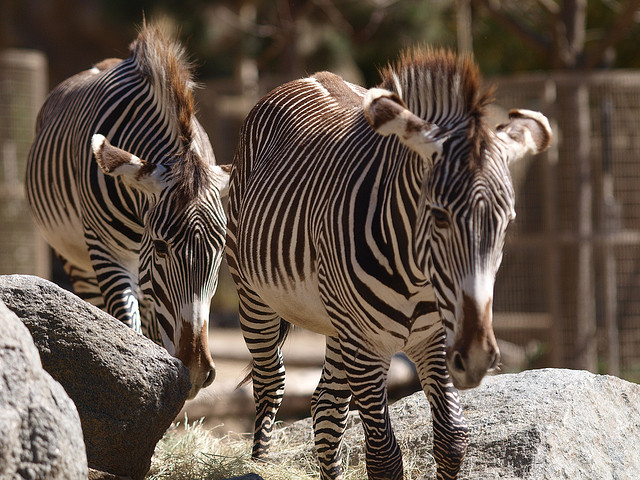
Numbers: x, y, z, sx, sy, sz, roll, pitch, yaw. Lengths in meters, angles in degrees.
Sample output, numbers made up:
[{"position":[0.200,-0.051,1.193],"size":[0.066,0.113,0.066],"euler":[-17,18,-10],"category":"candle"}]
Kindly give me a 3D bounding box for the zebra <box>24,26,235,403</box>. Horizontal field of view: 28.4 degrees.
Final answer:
[{"position":[-1.609,-0.259,10.639],"size":[1.001,3.271,2.044],"euler":[12,-17,-40],"category":"zebra"}]

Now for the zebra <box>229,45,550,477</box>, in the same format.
[{"position":[0.398,0.100,9.747],"size":[1.126,3.349,2.610],"euler":[11,-16,-36],"category":"zebra"}]
